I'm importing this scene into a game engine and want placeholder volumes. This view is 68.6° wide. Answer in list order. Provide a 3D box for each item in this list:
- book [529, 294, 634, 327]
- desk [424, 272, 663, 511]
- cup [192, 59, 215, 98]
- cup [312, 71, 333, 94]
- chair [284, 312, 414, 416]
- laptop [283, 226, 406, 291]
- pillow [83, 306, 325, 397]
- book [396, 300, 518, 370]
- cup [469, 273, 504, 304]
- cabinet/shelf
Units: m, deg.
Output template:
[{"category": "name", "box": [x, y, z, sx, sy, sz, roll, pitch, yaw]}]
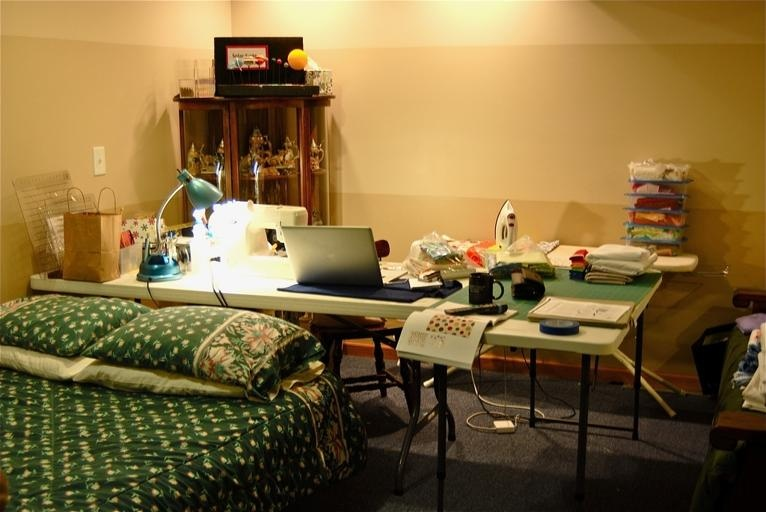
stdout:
[{"category": "book", "box": [0.868, 0.240, 2.454, 0.397, 0.042, 0.379, 7, 15, 26]}, {"category": "desk", "box": [0.874, 0.539, 2.874, 0.901, 0.887, 1.397, 2, 4, 29]}, {"category": "cup", "box": [-1.251, -1.239, 3.913, 0.147, 0.251, 0.196, -6, 15, -24]}, {"category": "cup", "box": [-0.426, -1.235, 3.996, 0.081, 0.162, 0.273, 6, 14, 22]}, {"category": "chair", "box": [-0.143, 0.523, 3.351, 0.619, 0.690, 0.655, -1, 4, 6]}, {"category": "laptop", "box": [-0.251, 0.002, 2.830, 0.420, 0.276, 0.340, 1, 17, 20]}, {"category": "pillow", "box": [-0.810, 0.307, 2.478, 0.696, 0.195, 0.464, 6, 14, 21]}, {"category": "book", "box": [0.246, 0.347, 2.340, 0.290, 0.121, 0.306, -5, 29, 35]}, {"category": "cup", "box": [0.475, 0.145, 2.659, 0.185, 0.145, 0.110, 2, 5, 9]}, {"category": "cabinet/shelf", "box": [-0.820, -0.721, 4.261, 1.274, 1.299, 0.873, -2, 15, -7]}]
